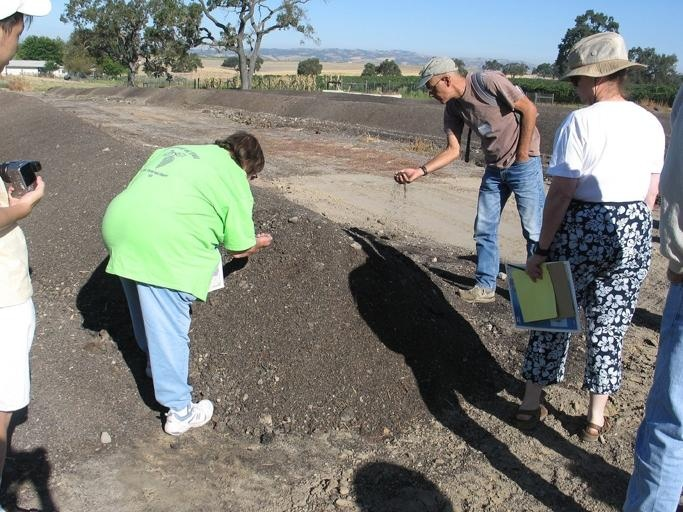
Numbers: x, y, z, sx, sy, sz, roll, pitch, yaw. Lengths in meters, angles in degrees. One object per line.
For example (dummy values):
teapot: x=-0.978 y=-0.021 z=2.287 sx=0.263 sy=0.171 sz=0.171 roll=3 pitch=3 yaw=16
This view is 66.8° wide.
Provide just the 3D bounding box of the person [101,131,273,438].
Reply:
person: x=-1.057 y=0.128 z=3.365 sx=0.768 sy=1.860 sz=1.019 roll=3 pitch=4 yaw=41

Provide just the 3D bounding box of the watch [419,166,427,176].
watch: x=0.739 y=-0.747 z=4.628 sx=0.020 sy=0.077 sz=0.078 roll=-27 pitch=41 yaw=-5

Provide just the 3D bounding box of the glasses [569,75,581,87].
glasses: x=1.418 y=-1.058 z=3.147 sx=0.051 sy=0.045 sz=0.049 roll=1 pitch=19 yaw=4

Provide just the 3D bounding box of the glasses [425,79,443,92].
glasses: x=0.766 y=-1.426 z=4.279 sx=0.111 sy=0.051 sz=0.091 roll=-34 pitch=3 yaw=6

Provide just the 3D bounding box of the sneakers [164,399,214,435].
sneakers: x=-0.986 y=1.057 z=3.491 sx=0.147 sy=0.183 sz=0.369 roll=28 pitch=35 yaw=32

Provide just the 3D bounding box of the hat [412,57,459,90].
hat: x=0.791 y=-1.501 z=4.263 sx=0.310 sy=0.248 sz=0.227 roll=8 pitch=18 yaw=8

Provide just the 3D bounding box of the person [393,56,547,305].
person: x=1.108 y=-0.460 z=4.703 sx=1.113 sy=2.245 sz=0.764 roll=-2 pitch=5 yaw=-29

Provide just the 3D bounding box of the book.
book: x=1.250 y=0.262 z=3.201 sx=0.113 sy=0.451 sz=0.414 roll=-12 pitch=11 yaw=-43
